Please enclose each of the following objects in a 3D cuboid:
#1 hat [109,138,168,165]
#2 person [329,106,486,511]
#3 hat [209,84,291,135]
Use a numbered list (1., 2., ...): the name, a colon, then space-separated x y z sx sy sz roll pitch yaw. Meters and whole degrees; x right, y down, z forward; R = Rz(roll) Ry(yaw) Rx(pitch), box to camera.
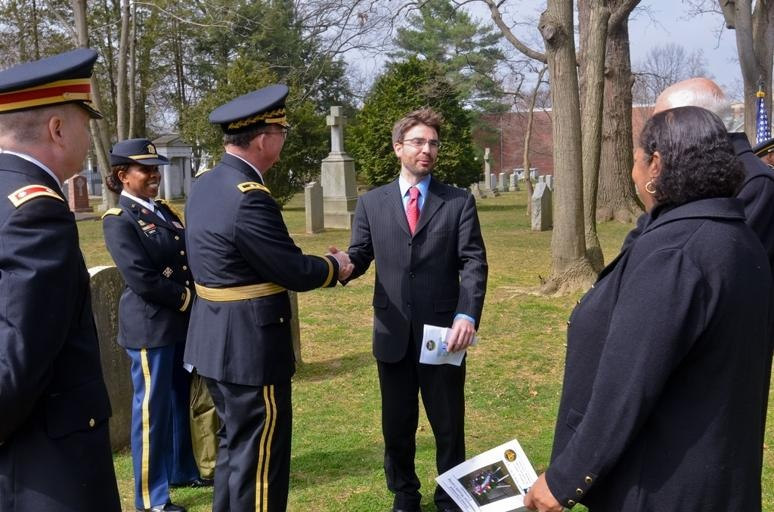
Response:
1. hat: -1.763 -0.703 5.569 0.301 0.117 0.226 -3 7 2
2. person: 0.197 0.355 5.221 0.914 2.647 0.576 -2 3 6
3. hat: -0.820 -0.888 4.808 0.407 0.168 0.343 -14 27 -22
